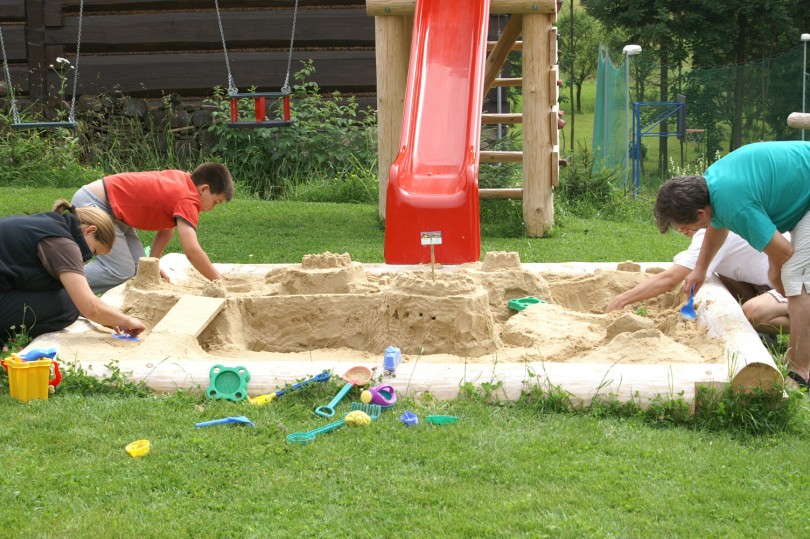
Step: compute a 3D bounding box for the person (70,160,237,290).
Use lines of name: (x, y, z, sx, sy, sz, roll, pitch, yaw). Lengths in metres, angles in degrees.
person: (-2.612, -0.546, 13.678, 1.989, 1.390, 1.041, 1, 8, -6)

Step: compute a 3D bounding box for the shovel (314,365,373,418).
shovel: (-0.542, 1.132, 11.716, 0.282, 0.123, 0.724, 19, 45, 19)

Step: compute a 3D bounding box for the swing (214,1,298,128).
swing: (-1.993, -3.040, 17.578, 1.175, 2.153, 4.524, -1, 4, -6)

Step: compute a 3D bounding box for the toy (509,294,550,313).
toy: (1.290, 0.373, 13.086, 0.404, 0.166, 0.278, -1, 4, 4)

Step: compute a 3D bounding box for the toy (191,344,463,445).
toy: (-0.902, 1.200, 11.630, 1.571, 0.444, 1.006, -4, 25, -7)

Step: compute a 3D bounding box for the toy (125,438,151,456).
toy: (-2.391, 1.609, 11.126, 0.154, 0.070, 0.157, 3, 8, 30)
